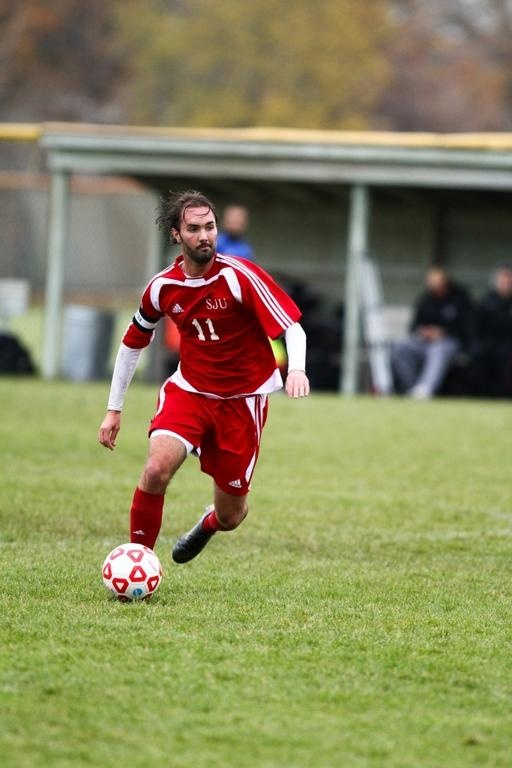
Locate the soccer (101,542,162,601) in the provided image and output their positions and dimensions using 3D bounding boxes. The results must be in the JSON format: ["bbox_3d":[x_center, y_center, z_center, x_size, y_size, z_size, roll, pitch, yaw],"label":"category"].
[{"bbox_3d":[-0.417,0.624,3.424,0.226,0.183,0.193,6,6,-10],"label":"soccer"}]

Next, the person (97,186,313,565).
[{"bbox_3d":[-0.161,0.118,3.574,0.812,1.096,0.478,3,6,20],"label":"person"}]
